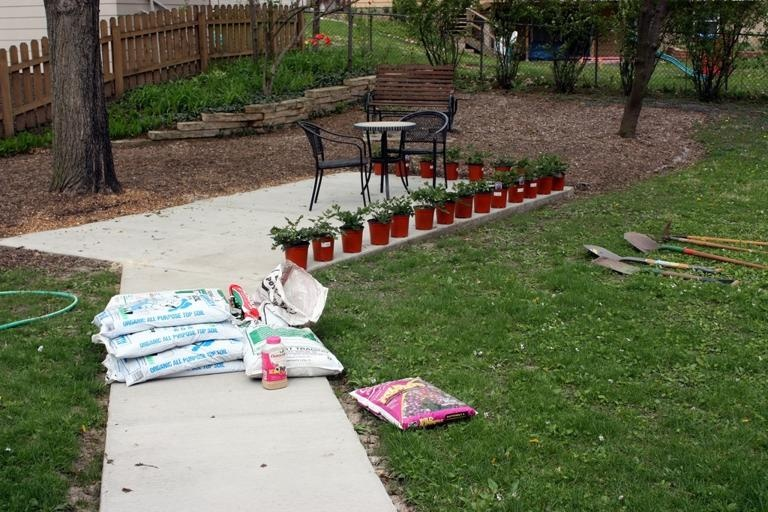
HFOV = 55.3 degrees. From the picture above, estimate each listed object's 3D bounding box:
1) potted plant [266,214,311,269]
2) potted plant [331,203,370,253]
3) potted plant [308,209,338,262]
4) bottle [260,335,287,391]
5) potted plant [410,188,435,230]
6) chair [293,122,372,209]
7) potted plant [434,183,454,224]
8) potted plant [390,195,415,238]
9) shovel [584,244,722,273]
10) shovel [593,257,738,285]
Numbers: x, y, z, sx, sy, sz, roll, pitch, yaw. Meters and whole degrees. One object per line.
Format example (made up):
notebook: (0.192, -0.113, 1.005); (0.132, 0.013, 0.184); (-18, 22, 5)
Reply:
potted plant: (-1.015, -0.116, 7.975); (0.482, 0.530, 0.489); (-6, 4, 13)
potted plant: (-0.344, -0.301, 8.469); (0.369, 0.453, 0.419); (5, 4, 29)
potted plant: (-0.676, -0.202, 8.202); (0.319, 0.489, 0.345); (4, 6, 38)
bottle: (-0.897, 0.873, 6.012); (0.202, 0.402, 0.160); (0, 18, -8)
potted plant: (0.524, -0.590, 9.173); (0.293, 0.474, 0.321); (-7, 2, -20)
chair: (-0.663, -1.279, 10.108); (0.910, 1.034, 0.770); (-1, 10, 5)
potted plant: (0.767, -0.631, 9.284); (0.425, 0.431, 0.408); (0, 4, 2)
potted plant: (0.188, -0.483, 8.975); (0.501, 0.532, 0.429); (0, 5, -2)
shovel: (2.917, 0.047, 8.188); (0.420, 0.108, 1.549); (5, 3, -43)
shovel: (2.960, 0.172, 7.925); (1.481, 0.108, 0.424); (9, 12, 32)
